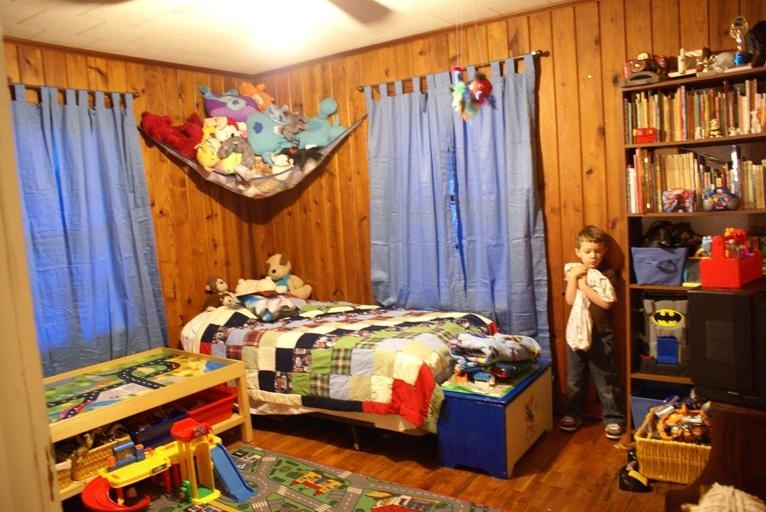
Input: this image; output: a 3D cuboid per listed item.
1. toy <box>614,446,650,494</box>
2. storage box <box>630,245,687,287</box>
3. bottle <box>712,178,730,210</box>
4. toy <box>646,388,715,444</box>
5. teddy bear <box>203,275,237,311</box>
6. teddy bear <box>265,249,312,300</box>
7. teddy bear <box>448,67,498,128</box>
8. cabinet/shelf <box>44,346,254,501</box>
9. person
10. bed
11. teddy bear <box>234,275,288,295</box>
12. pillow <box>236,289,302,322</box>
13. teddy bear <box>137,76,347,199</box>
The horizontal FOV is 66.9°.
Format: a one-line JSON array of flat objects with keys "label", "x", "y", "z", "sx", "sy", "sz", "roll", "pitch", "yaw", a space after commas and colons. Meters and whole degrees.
[{"label": "toy", "x": 1.417, "y": 1.223, "z": 3.290, "sx": 0.150, "sy": 0.168, "sz": 0.462, "roll": -5, "pitch": -15, "yaw": 15}, {"label": "storage box", "x": 1.661, "y": 0.088, "z": 3.594, "sx": 0.361, "sy": 0.220, "sz": 0.274, "roll": 0, "pitch": -12, "yaw": 2}, {"label": "bottle", "x": 1.966, "y": -0.360, "z": 3.327, "sx": 0.131, "sy": 0.160, "sz": 0.045, "roll": -6, "pitch": 1, "yaw": -42}, {"label": "toy", "x": 1.678, "y": 0.930, "z": 3.254, "sx": 0.335, "sy": 0.119, "sz": 0.395, "roll": -10, "pitch": 1, "yaw": 34}, {"label": "teddy bear", "x": -1.354, "y": 0.306, "z": 4.698, "sx": 0.162, "sy": 0.233, "sz": 0.219, "roll": -24, "pitch": 11, "yaw": 24}, {"label": "teddy bear", "x": -0.869, "y": 0.174, "z": 4.958, "sx": 0.329, "sy": 0.385, "sz": 0.413, "roll": -13, "pitch": 12, "yaw": -30}, {"label": "teddy bear", "x": 0.583, "y": -1.113, "z": 4.024, "sx": 0.178, "sy": 0.335, "sz": 0.347, "roll": -45, "pitch": 19, "yaw": -23}, {"label": "cabinet/shelf", "x": -1.523, "y": 0.925, "z": 3.721, "sx": 0.860, "sy": 0.395, "sz": 1.107, "roll": 8, "pitch": 1, "yaw": 24}, {"label": "person", "x": 1.388, "y": 0.481, "z": 3.802, "sx": 0.398, "sy": 1.318, "sz": 0.522, "roll": 1, "pitch": 15, "yaw": 21}, {"label": "bed", "x": -0.346, "y": 0.603, "z": 3.967, "sx": 1.574, "sy": 0.488, "sz": 0.979, "roll": 0, "pitch": 5, "yaw": 27}, {"label": "teddy bear", "x": -1.043, "y": 0.250, "z": 4.738, "sx": 0.260, "sy": 0.088, "sz": 0.201, "roll": 1, "pitch": 8, "yaw": 16}, {"label": "pillow", "x": -0.808, "y": 0.366, "z": 4.362, "sx": 0.287, "sy": 0.075, "sz": 0.277, "roll": -8, "pitch": 26, "yaw": -40}, {"label": "teddy bear", "x": -1.136, "y": -0.817, "z": 4.694, "sx": 1.149, "sy": 0.344, "sz": 1.043, "roll": 25, "pitch": 45, "yaw": 26}]
